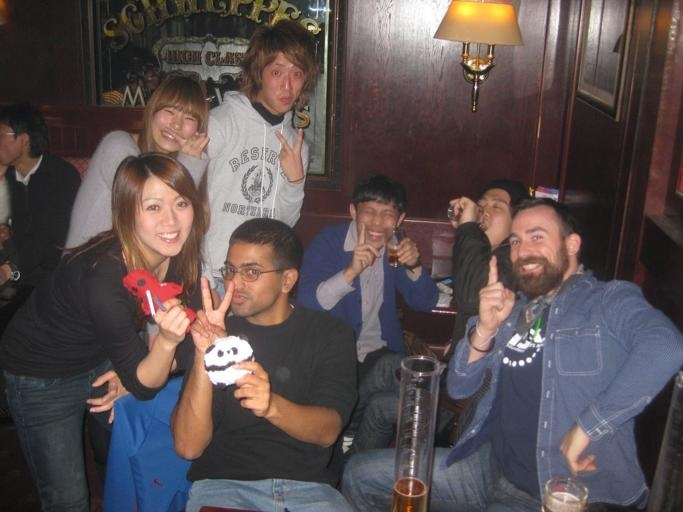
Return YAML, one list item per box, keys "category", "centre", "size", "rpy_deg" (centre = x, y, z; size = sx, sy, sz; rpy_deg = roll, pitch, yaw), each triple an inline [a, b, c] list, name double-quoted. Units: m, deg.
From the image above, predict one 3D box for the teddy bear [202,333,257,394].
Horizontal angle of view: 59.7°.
- category: "teddy bear"
  centre: [-0.436, 0.417, 2.321]
  size: [0.239, 0.120, 0.258]
  rpy_deg: [-7, 34, 0]

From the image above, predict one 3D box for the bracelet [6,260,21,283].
- category: "bracelet"
  centre: [-2.428, 0.117, 4.335]
  size: [0.091, 0.145, 0.134]
  rpy_deg: [-14, 1, -44]

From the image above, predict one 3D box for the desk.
- category: "desk"
  centre: [0.657, 0.521, 4.289]
  size: [0.487, 0.555, 0.395]
  rpy_deg: [-1, 12, 1]

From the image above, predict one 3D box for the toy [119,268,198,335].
- category: "toy"
  centre: [-0.787, 0.197, 2.544]
  size: [0.287, 0.211, 0.129]
  rpy_deg: [28, -28, -14]
